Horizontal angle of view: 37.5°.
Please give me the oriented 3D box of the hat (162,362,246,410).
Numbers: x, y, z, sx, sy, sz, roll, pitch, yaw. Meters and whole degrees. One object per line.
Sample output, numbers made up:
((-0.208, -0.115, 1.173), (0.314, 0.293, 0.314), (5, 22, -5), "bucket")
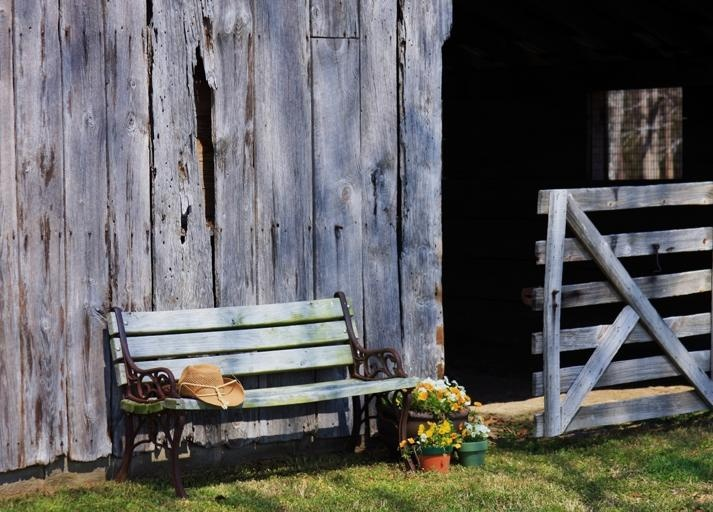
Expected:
((-1.094, 0.974, 7.805), (0.403, 0.171, 0.343), (13, -3, 45), "hat")
